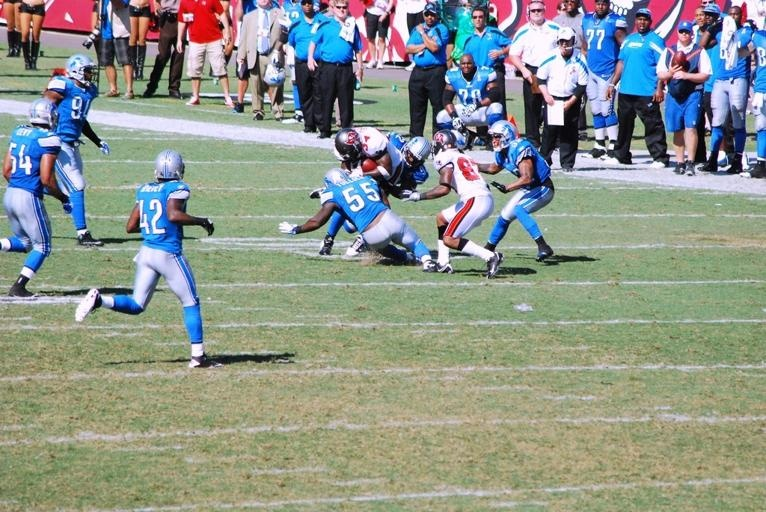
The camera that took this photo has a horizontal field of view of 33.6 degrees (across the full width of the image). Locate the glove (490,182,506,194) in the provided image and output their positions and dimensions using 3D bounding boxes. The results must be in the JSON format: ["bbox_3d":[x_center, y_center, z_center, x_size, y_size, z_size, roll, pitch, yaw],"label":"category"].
[{"bbox_3d":[1.390,-0.810,14.792,0.199,0.061,0.112,34,-10,-8],"label":"glove"}]

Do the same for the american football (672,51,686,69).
[{"bbox_3d":[4.698,-3.053,19.879,0.226,0.239,0.225,4,-16,3],"label":"american football"}]

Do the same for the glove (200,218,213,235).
[{"bbox_3d":[-1.722,-0.306,12.382,0.131,0.082,0.254,-9,-24,-1],"label":"glove"}]

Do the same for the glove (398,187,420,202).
[{"bbox_3d":[0.340,-0.701,15.163,0.119,0.110,0.288,1,8,-30],"label":"glove"}]

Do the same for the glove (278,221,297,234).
[{"bbox_3d":[-1.081,-0.307,14.529,0.199,0.149,0.471,1,6,-6],"label":"glove"}]

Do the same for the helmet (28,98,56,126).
[{"bbox_3d":[-3.933,-1.620,14.396,0.295,0.273,0.361,5,17,9],"label":"helmet"}]

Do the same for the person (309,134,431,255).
[{"bbox_3d":[-0.162,-0.982,15.596,1.579,1.030,0.956,-18,9,-32],"label":"person"}]
